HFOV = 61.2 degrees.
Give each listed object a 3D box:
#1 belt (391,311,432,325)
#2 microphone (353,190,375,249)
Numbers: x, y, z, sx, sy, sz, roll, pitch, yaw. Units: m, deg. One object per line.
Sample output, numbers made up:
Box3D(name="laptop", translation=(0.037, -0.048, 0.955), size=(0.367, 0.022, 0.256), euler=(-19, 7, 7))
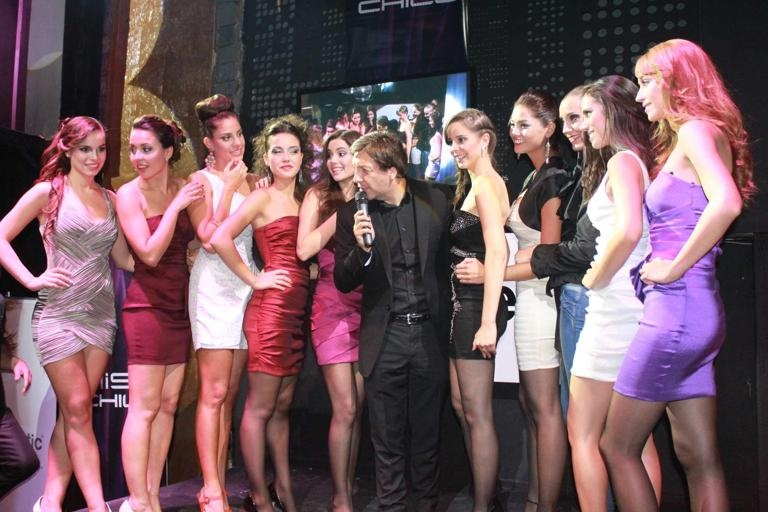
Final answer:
Box3D(name="belt", translation=(0.176, 0.405, 4.211), size=(0.245, 0.079, 0.037), euler=(3, 5, -1))
Box3D(name="microphone", translation=(-0.123, -0.237, 4.204), size=(0.116, 0.375, 0.270), euler=(2, 5, -9))
